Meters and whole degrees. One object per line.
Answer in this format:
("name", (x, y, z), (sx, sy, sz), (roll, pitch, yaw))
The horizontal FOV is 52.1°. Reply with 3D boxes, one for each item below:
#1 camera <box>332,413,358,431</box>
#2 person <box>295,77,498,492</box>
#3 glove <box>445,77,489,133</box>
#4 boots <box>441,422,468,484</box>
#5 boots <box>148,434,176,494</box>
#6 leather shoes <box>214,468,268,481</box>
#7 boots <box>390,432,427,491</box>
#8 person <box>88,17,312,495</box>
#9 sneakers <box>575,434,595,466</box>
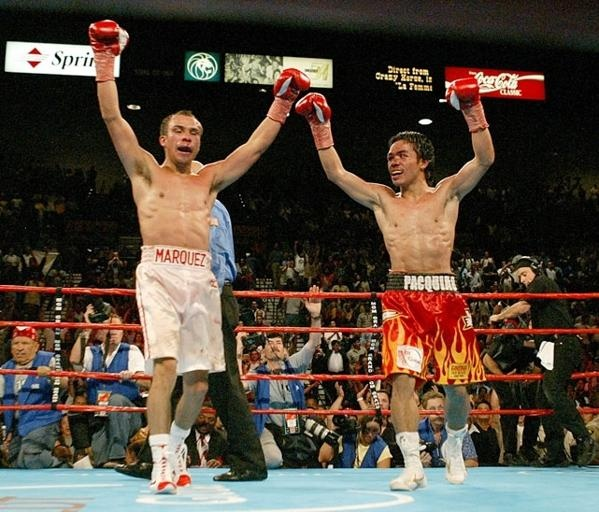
("camera", (0.403, 1.460, 5.392), (0.198, 0.128, 0.305), (11, -5, 5))
("person", (0.678, 0.109, 3.746), (1.073, 2.476, 0.425), (0, -9, -7))
("glove", (1.063, -0.951, 3.895), (0.217, 0.326, 0.335), (-21, 17, 0))
("boots", (0.940, 1.194, 3.702), (0.147, 0.320, 0.199), (-3, -9, 11))
("boots", (-0.697, 1.070, 3.184), (0.137, 0.295, 0.142), (4, -11, -33))
("leather shoes", (-0.350, 1.287, 3.690), (0.310, 0.102, 0.102), (6, -15, -8))
("boots", (0.612, 1.151, 3.474), (0.194, 0.302, 0.276), (-3, -9, 10))
("person", (-0.649, -0.079, 3.556), (1.142, 2.738, 0.384), (4, -11, -28))
("sneakers", (2.032, 1.408, 4.413), (0.177, 0.220, 0.073), (11, 5, -45))
